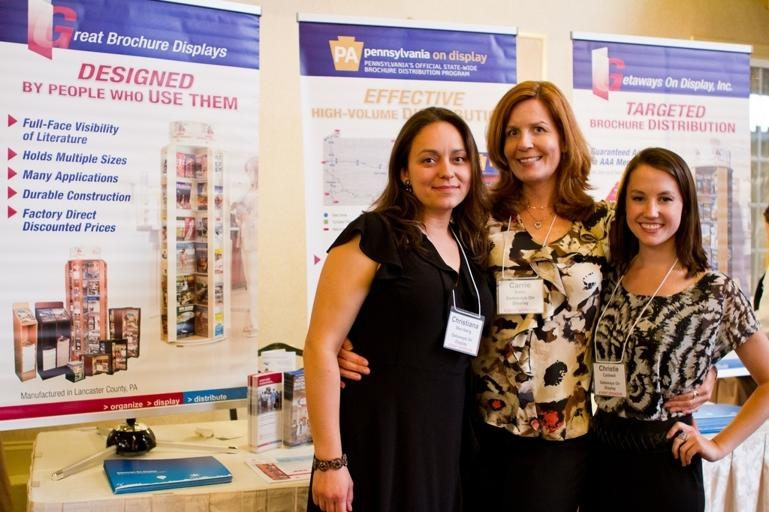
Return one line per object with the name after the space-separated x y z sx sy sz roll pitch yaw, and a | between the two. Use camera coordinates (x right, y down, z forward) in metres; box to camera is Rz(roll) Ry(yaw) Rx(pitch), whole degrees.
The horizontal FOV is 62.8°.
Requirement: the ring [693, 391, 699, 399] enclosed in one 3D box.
1.378 0.618 2.793 0.021 0.026 0.007 1 -4 -18 | ring

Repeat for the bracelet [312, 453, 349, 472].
-0.227 0.847 2.581 0.144 0.076 0.084 -2 7 -5 | bracelet

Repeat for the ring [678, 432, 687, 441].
1.294 0.790 2.742 0.029 0.029 0.009 -4 -26 25 | ring
